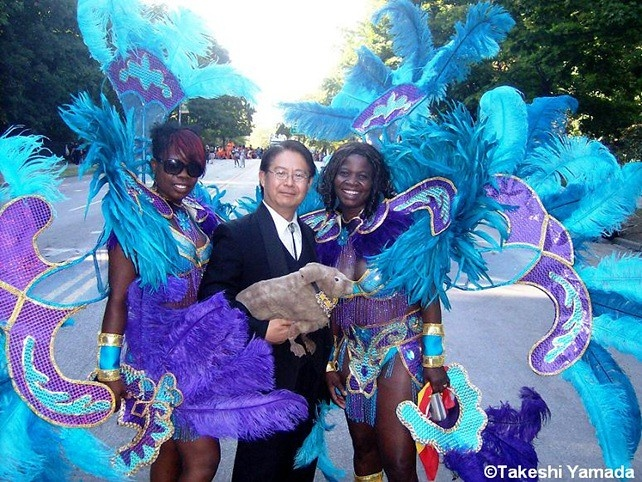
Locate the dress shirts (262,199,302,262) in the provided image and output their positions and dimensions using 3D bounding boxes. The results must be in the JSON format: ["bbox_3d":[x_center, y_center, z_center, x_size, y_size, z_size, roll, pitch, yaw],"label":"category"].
[{"bbox_3d":[-0.192,-0.050,2.904,0.089,0.329,0.243,-21,4,45],"label":"dress shirts"}]

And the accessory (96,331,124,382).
[{"bbox_3d":[-1.149,0.620,2.662,0.142,0.272,0.096,4,-1,-6],"label":"accessory"}]

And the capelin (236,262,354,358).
[{"bbox_3d":[-0.149,0.371,2.794,0.699,0.494,0.307,2,7,11],"label":"capelin"}]

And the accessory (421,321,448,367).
[{"bbox_3d":[0.692,0.634,2.993,0.166,0.250,0.168,-4,-16,27],"label":"accessory"}]
